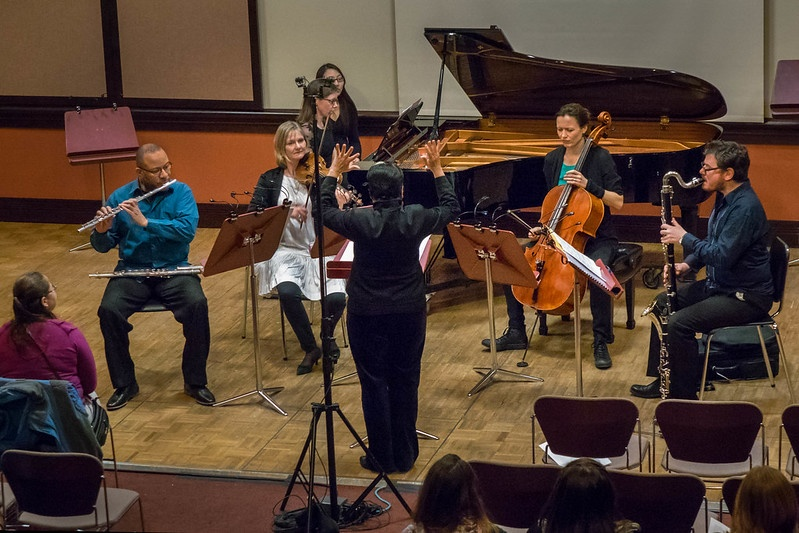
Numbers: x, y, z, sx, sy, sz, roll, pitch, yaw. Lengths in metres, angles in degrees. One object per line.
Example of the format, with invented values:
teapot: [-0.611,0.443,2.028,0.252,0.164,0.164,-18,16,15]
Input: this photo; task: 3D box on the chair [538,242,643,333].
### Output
chair: [1.559,0.217,6.171,0.760,0.889,0.953,6,18,26]

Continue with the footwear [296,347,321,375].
footwear: [-0.722,0.753,5.821,0.102,0.125,0.306,4,13,22]

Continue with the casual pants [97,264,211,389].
casual pants: [-1.891,0.387,5.622,0.758,0.940,0.683,-4,21,-24]

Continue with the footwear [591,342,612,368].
footwear: [1.586,0.691,5.770,0.091,0.108,0.258,-5,21,9]

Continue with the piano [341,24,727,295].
piano: [1.720,-1.254,6.927,2.560,1.830,1.516,8,25,19]

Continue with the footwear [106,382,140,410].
footwear: [-2.044,0.966,5.484,0.092,0.112,0.272,8,18,26]

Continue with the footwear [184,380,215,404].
footwear: [-1.479,0.950,5.539,0.288,0.119,0.107,19,28,32]

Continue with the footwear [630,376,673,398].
footwear: [1.799,0.868,5.291,0.286,0.121,0.105,3,6,13]

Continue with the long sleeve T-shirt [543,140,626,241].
long sleeve T-shirt: [1.523,-0.515,5.867,0.512,0.846,0.247,0,-4,37]

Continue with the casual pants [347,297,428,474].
casual pants: [-0.060,0.666,4.602,0.463,1.151,0.344,-3,16,-13]

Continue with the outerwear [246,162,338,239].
outerwear: [-0.998,-0.558,5.781,0.529,0.505,0.240,8,-22,-4]

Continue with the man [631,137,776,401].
man: [2.118,0.051,5.136,0.868,1.807,0.534,-4,9,-19]

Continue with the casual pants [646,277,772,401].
casual pants: [2.103,0.583,5.226,0.871,0.814,0.825,0,4,19]

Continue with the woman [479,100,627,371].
woman: [1.337,-0.264,5.847,1.061,1.970,1.071,-14,17,-36]

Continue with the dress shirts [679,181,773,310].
dress shirts: [2.280,-0.030,5.239,0.696,1.170,0.618,4,11,28]

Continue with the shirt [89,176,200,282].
shirt: [-1.922,-0.245,5.611,0.735,0.824,0.890,5,6,34]

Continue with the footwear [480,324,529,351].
footwear: [0.858,0.588,6.137,0.407,0.230,0.157,2,9,3]

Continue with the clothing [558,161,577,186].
clothing: [1.339,-0.751,5.934,0.136,0.190,0.046,4,-4,38]

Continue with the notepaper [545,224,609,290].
notepaper: [1.119,-0.018,4.480,0.133,0.317,0.579,-32,-32,28]

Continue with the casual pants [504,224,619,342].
casual pants: [1.396,0.153,6.191,0.838,0.799,0.878,0,16,32]
